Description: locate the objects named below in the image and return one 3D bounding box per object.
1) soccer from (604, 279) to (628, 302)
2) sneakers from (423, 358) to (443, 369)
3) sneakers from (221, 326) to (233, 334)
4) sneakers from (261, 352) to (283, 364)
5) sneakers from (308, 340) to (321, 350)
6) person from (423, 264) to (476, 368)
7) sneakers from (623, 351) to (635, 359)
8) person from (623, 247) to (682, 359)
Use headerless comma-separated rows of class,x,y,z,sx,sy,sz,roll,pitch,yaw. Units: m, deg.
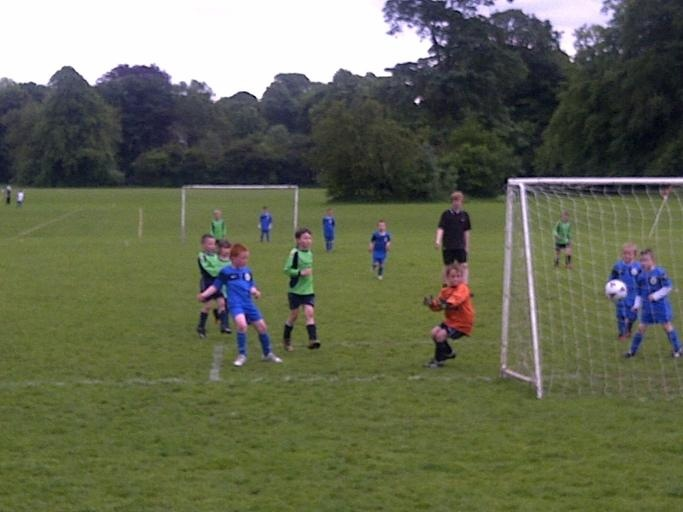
soccer,6.425,0.732,25.821,0.467,0.477,0.472,-2,36,-22
sneakers,2.096,2.498,25.433,0.462,0.237,0.168,1,8,1
sneakers,-2.851,1.853,27.314,0.265,0.117,0.123,-5,0,31
sneakers,-1.601,2.379,25.657,0.542,0.239,0.194,5,6,6
sneakers,-0.654,2.109,26.049,0.155,0.155,0.309,-4,-12,-23
person,2.518,1.339,25.544,1.024,2.396,1.494,0,5,7
sneakers,6.719,2.337,25.861,0.296,0.130,0.108,-6,14,6
person,7.395,1.090,26.060,1.265,2.528,1.125,1,5,18
